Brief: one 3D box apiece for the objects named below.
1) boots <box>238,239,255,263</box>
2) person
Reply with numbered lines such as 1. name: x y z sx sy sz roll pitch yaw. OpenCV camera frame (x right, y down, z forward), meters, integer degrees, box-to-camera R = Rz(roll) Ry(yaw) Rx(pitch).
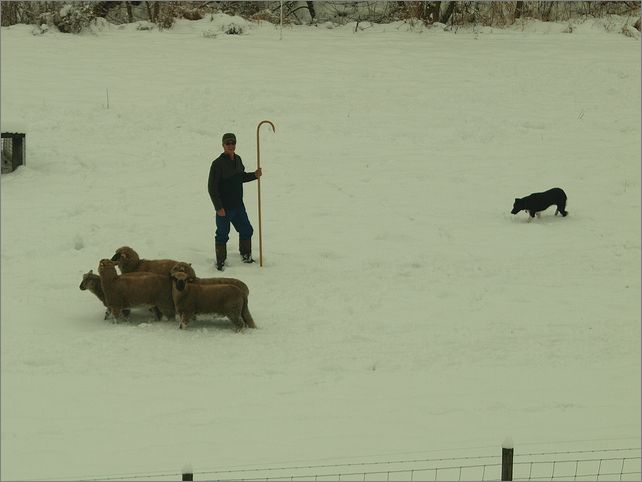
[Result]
1. boots: -1.648 0.221 33.563 0.438 0.661 0.337 -3 6 -2
2. person: -1.949 -0.857 33.363 1.035 2.890 0.498 -3 11 -26
